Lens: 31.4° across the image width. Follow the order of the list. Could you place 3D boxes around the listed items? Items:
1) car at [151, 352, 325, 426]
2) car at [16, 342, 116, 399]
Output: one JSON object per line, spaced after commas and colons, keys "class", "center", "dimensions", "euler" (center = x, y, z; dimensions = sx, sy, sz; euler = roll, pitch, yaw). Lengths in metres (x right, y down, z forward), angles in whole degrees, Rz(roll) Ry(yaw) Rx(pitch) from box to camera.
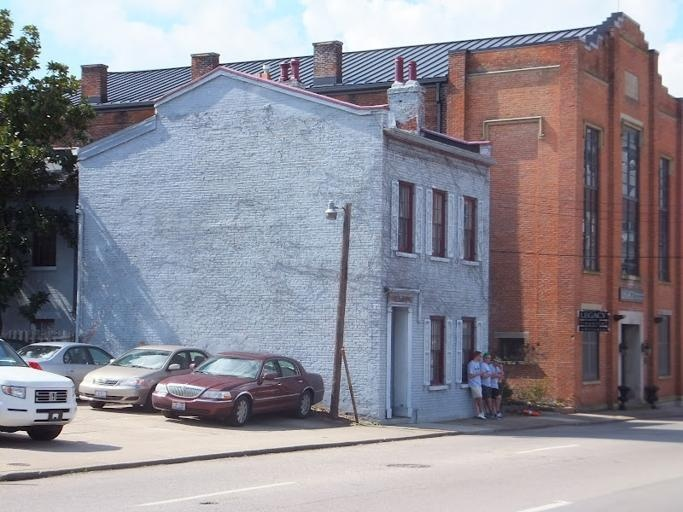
{"class": "car", "center": [-2.940, 3.979, 35.761], "dimensions": [1.918, 2.007, 4.664], "euler": [12, 10, 43]}
{"class": "car", "center": [-8.528, 3.351, 37.802], "dimensions": [2.604, 1.008, 1.374], "euler": [2, -3, -38]}
